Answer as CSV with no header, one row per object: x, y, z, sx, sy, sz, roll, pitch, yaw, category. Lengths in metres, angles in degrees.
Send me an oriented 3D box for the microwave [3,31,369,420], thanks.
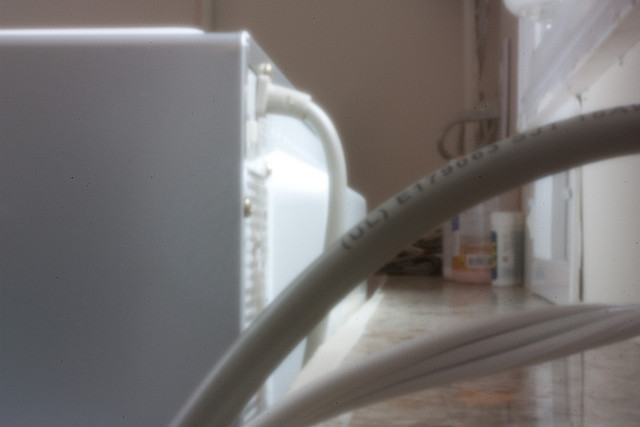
-0.197,0.001,1.196,0.500,0.578,0.841,0,3,4,microwave
